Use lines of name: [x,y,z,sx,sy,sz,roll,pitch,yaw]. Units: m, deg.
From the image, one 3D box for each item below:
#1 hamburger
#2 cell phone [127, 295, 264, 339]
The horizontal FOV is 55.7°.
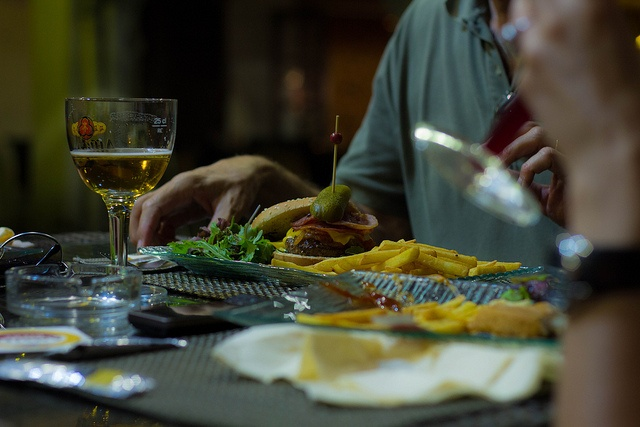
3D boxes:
hamburger: [-0.026,0.038,1.398,0.189,0.107,0.235,-9,0,-42]
cell phone: [-0.175,0.145,0.842,0.184,0.019,0.108,-7,13,-39]
